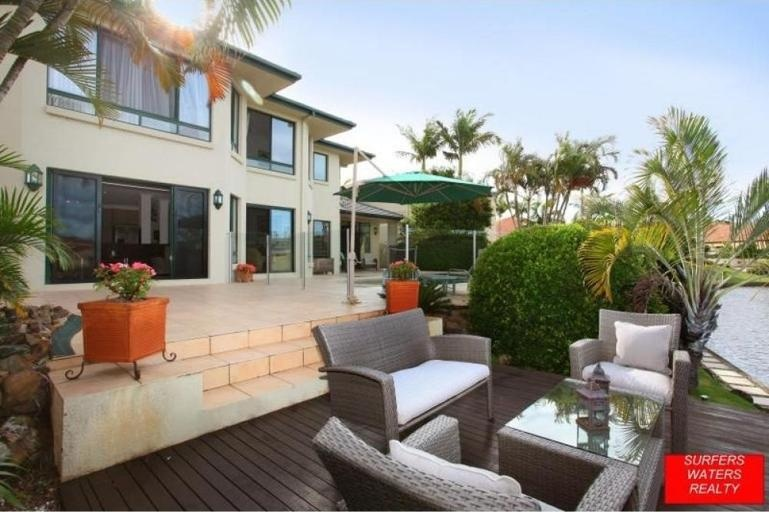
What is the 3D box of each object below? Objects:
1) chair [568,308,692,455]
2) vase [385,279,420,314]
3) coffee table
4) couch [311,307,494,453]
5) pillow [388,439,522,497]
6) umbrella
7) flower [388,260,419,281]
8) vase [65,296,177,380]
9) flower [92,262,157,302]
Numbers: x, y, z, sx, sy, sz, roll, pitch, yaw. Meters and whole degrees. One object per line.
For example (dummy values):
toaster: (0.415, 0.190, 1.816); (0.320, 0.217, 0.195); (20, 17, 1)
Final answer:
chair: (3.366, 1.630, 6.135); (1.310, 1.663, 1.339); (1, 2, -44)
vase: (0.266, 0.769, 8.757); (0.832, 0.588, 0.846); (1, 3, 21)
coffee table: (2.049, 1.923, 4.670); (1.259, 0.847, 1.740); (0, 1, 29)
couch: (0.297, 1.574, 5.857); (1.443, 1.439, 2.296); (6, 7, 43)
pillow: (0.531, 1.661, 3.607); (1.015, 0.328, 0.067); (0, 2, 14)
umbrella: (0.851, -0.720, 9.435); (3.314, 2.811, 3.483); (-2, 2, -18)
flower: (0.319, 0.305, 8.719); (0.466, 0.314, 0.439); (-2, -2, 20)
vase: (-3.244, 0.861, 5.704); (0.984, 0.881, 1.177); (-1, -2, 13)
flower: (-3.197, 0.317, 5.697); (0.631, 0.421, 0.588); (0, 4, -4)
